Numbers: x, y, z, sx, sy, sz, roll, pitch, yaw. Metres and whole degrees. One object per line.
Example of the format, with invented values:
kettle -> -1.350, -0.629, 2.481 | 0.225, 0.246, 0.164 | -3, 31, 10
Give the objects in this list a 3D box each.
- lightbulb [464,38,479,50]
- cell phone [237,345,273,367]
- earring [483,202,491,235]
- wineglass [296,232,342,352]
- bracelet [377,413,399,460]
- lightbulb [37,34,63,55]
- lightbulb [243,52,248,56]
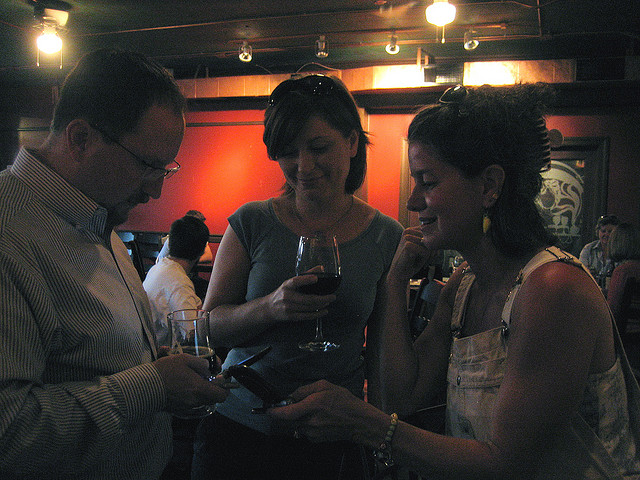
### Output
lightbulb -> 1.631, -2.168, 5.918 | 0.161, 0.162, 0.073 | 5, -2, -6
cell phone -> -0.249, 0.449, 2.094 | 0.033, 0.014, 0.134 | 37, -48, -14
earring -> 0.583, -0.074, 1.910 | 0.028, 0.083, 0.022 | 1, 3, -45
wineglass -> 0.015, 0.188, 2.052 | 0.193, 0.439, 0.186 | 1, -2, 5
bracelet -> 0.220, 0.637, 1.770 | 0.036, 0.122, 0.106 | 16, -22, 22
lightbulb -> -2.820, -2.029, 5.700 | 0.196, 0.197, 0.261 | 1, -4, -10
lightbulb -> -0.916, -2.267, 6.623 | 0.048, 0.029, 0.015 | 8, 3, 18
